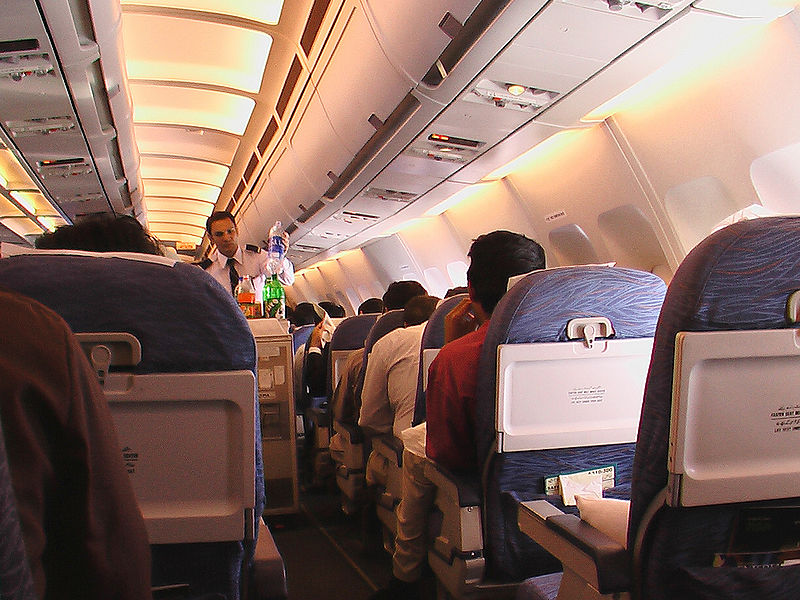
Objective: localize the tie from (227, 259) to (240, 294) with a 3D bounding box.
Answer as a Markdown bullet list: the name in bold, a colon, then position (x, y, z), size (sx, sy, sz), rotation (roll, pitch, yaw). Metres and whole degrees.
- **tie**: position (-1.215, -0.170, 4.115), size (0.052, 0.301, 0.040), rotation (-9, -25, 18)
